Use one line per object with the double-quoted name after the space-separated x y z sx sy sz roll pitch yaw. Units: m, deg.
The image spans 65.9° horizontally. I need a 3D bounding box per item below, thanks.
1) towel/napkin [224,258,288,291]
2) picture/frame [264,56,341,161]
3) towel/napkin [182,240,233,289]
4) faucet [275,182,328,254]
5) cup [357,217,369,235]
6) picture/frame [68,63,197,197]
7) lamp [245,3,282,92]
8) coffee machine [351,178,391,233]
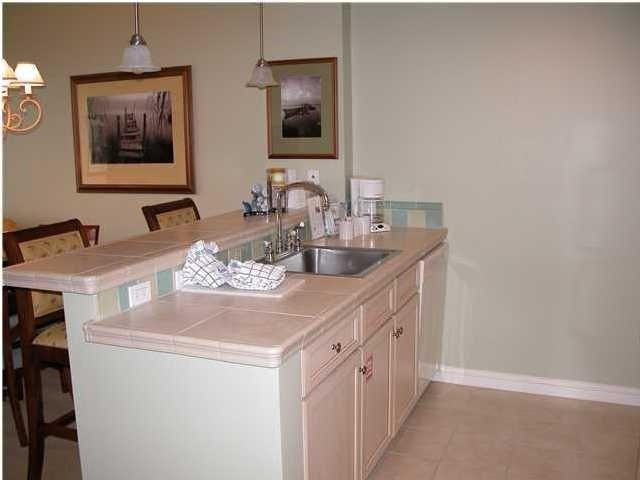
-0.269 0.134 2.043 0.181 0.068 0.131 2 13 7 "towel/napkin"
-0.094 -0.938 3.408 0.711 0.918 0.044 1 8 19 "picture/frame"
-0.475 0.106 2.051 0.194 0.197 0.083 5 -24 4 "towel/napkin"
-0.108 -0.171 2.849 0.287 0.375 0.779 0 11 -2 "faucet"
0.277 -0.091 3.184 0.103 0.116 0.104 0 14 0 "cup"
-1.438 -0.903 3.904 1.073 0.921 0.071 4 14 18 "picture/frame"
-0.355 -1.240 3.092 0.206 0.609 0.771 -1 12 -7 "lamp"
0.333 -0.239 3.263 0.250 0.338 0.334 1 12 2 "coffee machine"
